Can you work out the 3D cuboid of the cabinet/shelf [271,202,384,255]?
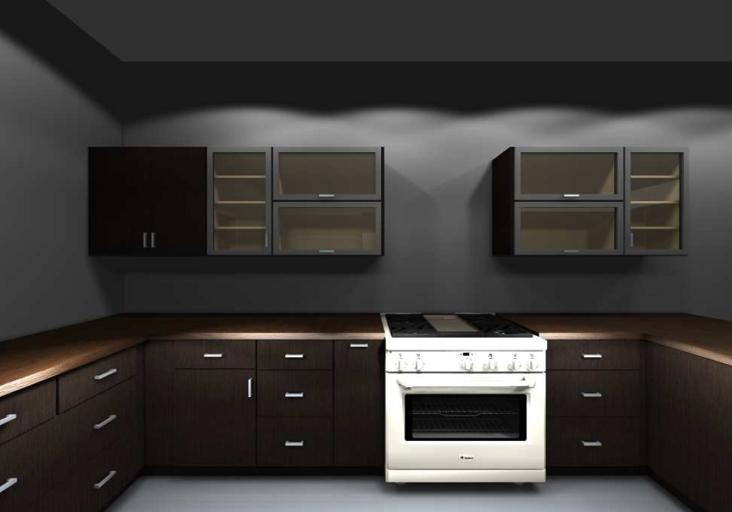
[{"bbox_3d":[-0.301,-0.217,4.867,0.862,0.431,0.110,2,-2,1],"label":"cabinet/shelf"}]

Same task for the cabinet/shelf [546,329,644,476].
[{"bbox_3d":[1.716,1.094,4.858,0.734,1.012,0.681,-1,0,6],"label":"cabinet/shelf"}]

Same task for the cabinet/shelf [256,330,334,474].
[{"bbox_3d":[-0.475,1.110,4.819,0.599,1.006,0.643,-2,-3,10],"label":"cabinet/shelf"}]

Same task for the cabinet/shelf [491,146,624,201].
[{"bbox_3d":[1.529,-0.562,5.184,1.087,0.492,0.758,-2,-13,-10],"label":"cabinet/shelf"}]

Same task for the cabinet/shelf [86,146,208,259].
[{"bbox_3d":[-1.752,-0.431,4.843,0.895,0.805,0.336,0,1,-1],"label":"cabinet/shelf"}]

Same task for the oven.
[{"bbox_3d":[0.766,1.143,4.754,1.156,1.008,0.806,0,-2,7],"label":"oven"}]
